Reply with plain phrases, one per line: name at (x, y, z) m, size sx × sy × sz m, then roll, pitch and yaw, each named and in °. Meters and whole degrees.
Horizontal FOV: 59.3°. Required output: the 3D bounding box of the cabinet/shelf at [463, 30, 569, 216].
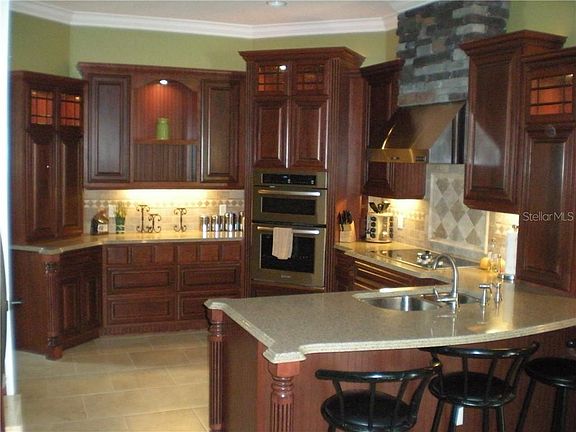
cabinet/shelf at (1.806, -0.727, 4.235) m, size 0.414 × 1.417 × 0.754 m, roll -7°, pitch 14°, yaw -16°

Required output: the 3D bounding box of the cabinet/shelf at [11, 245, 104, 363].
cabinet/shelf at (-2.377, 0.892, 5.353) m, size 0.897 × 1.086 × 0.501 m, roll -4°, pitch 9°, yaw -28°

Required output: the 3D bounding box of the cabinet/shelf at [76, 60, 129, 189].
cabinet/shelf at (-2.149, -1.050, 6.001) m, size 0.349 × 1.437 × 0.710 m, roll 16°, pitch 17°, yaw 40°

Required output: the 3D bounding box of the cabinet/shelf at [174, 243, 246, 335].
cabinet/shelf at (-1.008, 0.823, 6.264) m, size 0.866 × 1.107 × 0.417 m, roll 0°, pitch 6°, yaw -20°

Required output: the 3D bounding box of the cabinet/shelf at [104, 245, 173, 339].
cabinet/shelf at (-1.713, 0.868, 6.126) m, size 0.830 × 1.055 × 0.558 m, roll -2°, pitch -5°, yaw -8°

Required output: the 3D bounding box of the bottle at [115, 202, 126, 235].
bottle at (-2.045, 0.025, 6.240) m, size 0.124 × 0.357 × 0.232 m, roll -2°, pitch 8°, yaw -18°

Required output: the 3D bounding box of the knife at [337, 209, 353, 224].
knife at (0.654, 0.014, 5.775) m, size 0.130 × 0.171 × 0.064 m, roll 5°, pitch 6°, yaw 20°

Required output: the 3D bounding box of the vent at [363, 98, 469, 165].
vent at (1.192, -0.811, 5.070) m, size 0.507 × 0.514 × 1.051 m, roll -12°, pitch 12°, yaw -20°

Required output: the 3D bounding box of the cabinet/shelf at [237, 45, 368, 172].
cabinet/shelf at (0.209, -1.194, 5.759) m, size 1.459 × 1.717 × 0.847 m, roll 3°, pitch 4°, yaw 20°

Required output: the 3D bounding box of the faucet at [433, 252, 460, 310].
faucet at (1.092, 0.416, 3.485) m, size 0.172 × 0.391 × 0.539 m, roll 3°, pitch 8°, yaw 17°

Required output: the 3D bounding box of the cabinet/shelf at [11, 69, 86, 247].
cabinet/shelf at (-2.590, -0.624, 5.484) m, size 0.263 × 1.761 × 0.851 m, roll 4°, pitch 8°, yaw 22°
